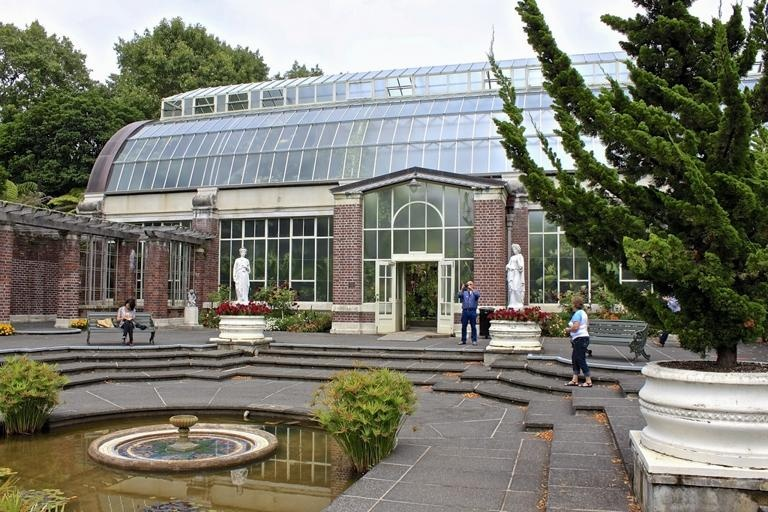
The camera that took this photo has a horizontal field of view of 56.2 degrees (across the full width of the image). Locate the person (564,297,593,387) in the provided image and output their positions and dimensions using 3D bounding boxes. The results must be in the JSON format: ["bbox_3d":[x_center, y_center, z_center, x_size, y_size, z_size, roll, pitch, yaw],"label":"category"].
[{"bbox_3d":[4.135,1.774,15.375,0.514,1.831,1.532,-2,-4,14],"label":"person"}]

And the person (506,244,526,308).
[{"bbox_3d":[3.523,0.501,19.343,0.406,1.761,0.948,-2,-4,10],"label":"person"}]

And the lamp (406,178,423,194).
[{"bbox_3d":[1.052,-2.420,25.131,0.463,0.447,0.467,11,22,35],"label":"lamp"}]

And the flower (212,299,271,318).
[{"bbox_3d":[-4.036,1.509,20.627,1.415,0.427,0.612,-1,-4,-3],"label":"flower"}]

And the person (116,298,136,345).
[{"bbox_3d":[-7.283,1.830,20.348,0.485,1.221,1.699,1,-4,-20],"label":"person"}]

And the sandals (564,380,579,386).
[{"bbox_3d":[3.893,2.623,14.945,0.270,0.101,0.090,2,-2,26],"label":"sandals"}]

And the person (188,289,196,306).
[{"bbox_3d":[-7.449,1.575,27.971,0.281,0.682,0.784,1,-4,-20],"label":"person"}]

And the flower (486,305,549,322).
[{"bbox_3d":[3.416,1.501,18.506,1.383,0.410,0.642,-1,-4,6],"label":"flower"}]

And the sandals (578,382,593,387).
[{"bbox_3d":[4.104,2.617,14.786,0.319,0.110,0.112,2,-2,21],"label":"sandals"}]
